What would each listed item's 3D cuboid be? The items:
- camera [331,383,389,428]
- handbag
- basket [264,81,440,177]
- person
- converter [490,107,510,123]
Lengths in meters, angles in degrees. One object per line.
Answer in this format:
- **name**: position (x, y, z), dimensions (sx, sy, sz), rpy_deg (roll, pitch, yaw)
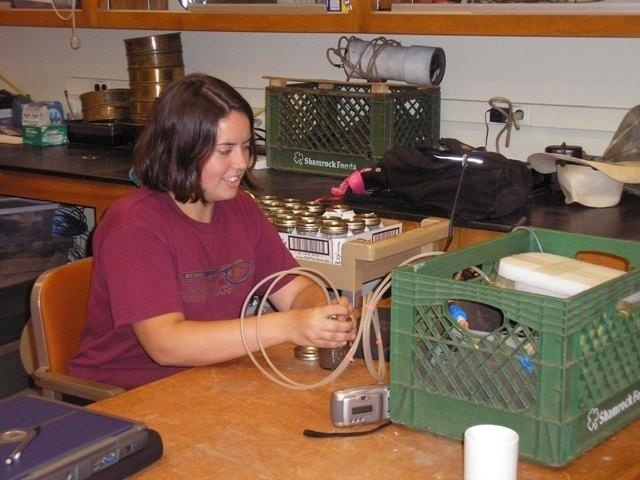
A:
- **camera**: position (0.071, 0.301, 0.944), dimensions (0.099, 0.044, 0.026), rpy_deg (-2, 9, -12)
- **handbag**: position (0.488, -0.232, 2.133), dimensions (0.532, 0.165, 0.419), rpy_deg (7, 17, 26)
- **basket**: position (0.147, -0.584, 2.658), dimensions (0.832, 0.375, 0.627), rpy_deg (10, 20, 31)
- **person**: position (-0.311, -0.100, 1.554), dimensions (1.031, 0.797, 0.740), rpy_deg (10, 22, 26)
- **converter**: position (0.897, -0.629, 2.634), dimensions (0.061, 0.060, 0.104), rpy_deg (5, -2, -39)
